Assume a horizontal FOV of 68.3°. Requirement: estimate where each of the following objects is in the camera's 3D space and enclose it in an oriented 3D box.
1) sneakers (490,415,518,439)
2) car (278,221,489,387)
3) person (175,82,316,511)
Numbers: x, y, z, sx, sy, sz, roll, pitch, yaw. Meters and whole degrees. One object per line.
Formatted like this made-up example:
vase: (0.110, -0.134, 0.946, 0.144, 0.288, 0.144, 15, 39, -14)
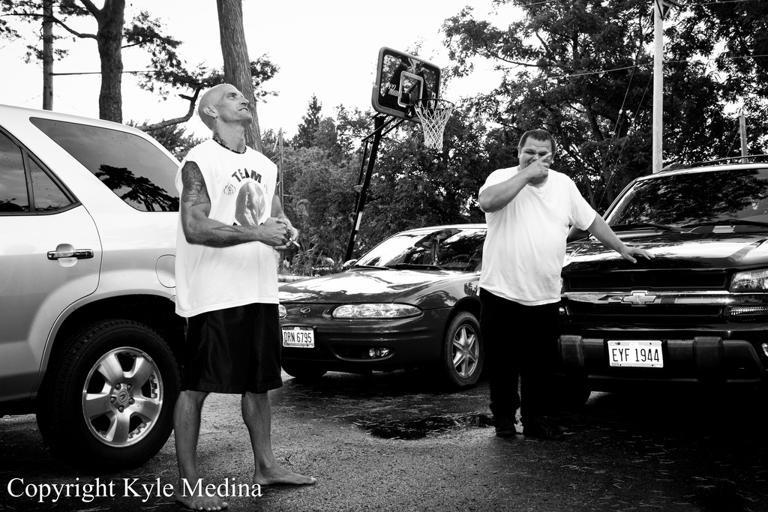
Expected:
sneakers: (0.993, 1.411, 4.692, 0.117, 0.135, 0.320, -1, -13, 4)
car: (0.231, 0.545, 6.618, 1.420, 1.178, 2.848, -7, -11, 36)
person: (-0.907, 0.187, 3.486, 0.716, 2.587, 0.640, 0, 0, -36)
